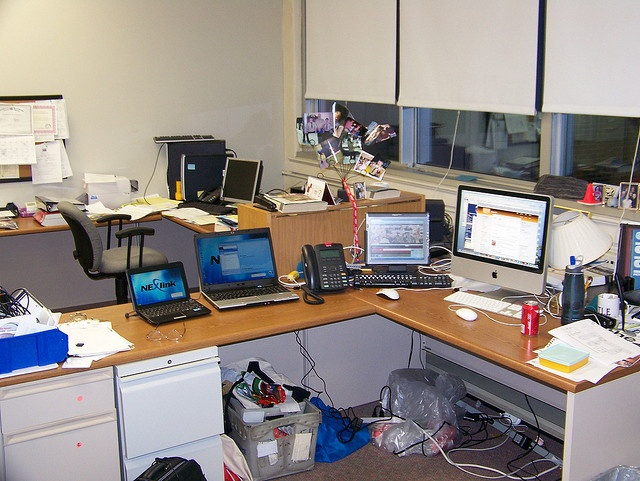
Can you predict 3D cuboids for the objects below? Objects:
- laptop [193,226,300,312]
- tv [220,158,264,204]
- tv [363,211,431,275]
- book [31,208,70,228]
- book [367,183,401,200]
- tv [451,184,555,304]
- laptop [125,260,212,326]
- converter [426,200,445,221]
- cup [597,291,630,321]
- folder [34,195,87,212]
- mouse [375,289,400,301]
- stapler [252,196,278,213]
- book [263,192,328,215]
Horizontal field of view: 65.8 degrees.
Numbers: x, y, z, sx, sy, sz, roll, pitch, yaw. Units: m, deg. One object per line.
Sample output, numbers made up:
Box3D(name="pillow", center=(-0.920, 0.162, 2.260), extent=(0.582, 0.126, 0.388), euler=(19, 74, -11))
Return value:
Box3D(name="laptop", center=(-0.455, 0.149, 2.768), extent=(0.508, 0.341, 0.457), euler=(-6, 15, -27))
Box3D(name="tv", center=(-0.731, -0.542, 4.547), extent=(0.542, 0.554, 0.197), euler=(4, 3, 33))
Box3D(name="tv", center=(0.463, 0.018, 3.011), extent=(0.364, 0.338, 0.120), euler=(1, -1, -3))
Box3D(name="book", center=(-2.281, -0.187, 4.165), extent=(0.207, 0.050, 0.204), euler=(-7, 19, -36))
Box3D(name="book", center=(0.424, -0.334, 3.417), extent=(0.144, 0.050, 0.150), euler=(-11, 18, -39))
Box3D(name="tv", center=(0.964, 0.033, 2.613), extent=(0.546, 0.554, 0.201), euler=(12, 13, 41))
Box3D(name="laptop", center=(-0.807, 0.286, 2.545), extent=(0.338, 0.217, 0.329), euler=(-12, 25, -36))
Box3D(name="converter", center=(0.792, -0.211, 3.419), extent=(0.143, 0.130, 0.140), euler=(3, 15, 7))
Box3D(name="cup", center=(1.390, 0.315, 2.378), extent=(0.142, 0.127, 0.090), euler=(1, 1, 14))
Box3D(name="folder", center=(-2.288, -0.321, 4.231), extent=(0.329, 0.098, 0.313), euler=(-6, 14, -40))
Box3D(name="mouse", center=(0.373, 0.285, 2.718), extent=(0.094, 0.028, 0.059), euler=(15, 18, 42))
Box3D(name="stapler", center=(-0.348, -0.245, 3.169), extent=(0.108, 0.041, 0.139), euler=(-4, 19, -39))
Box3D(name="book", center=(-0.145, -0.240, 3.175), extent=(0.391, 0.111, 0.223), euler=(-8, 14, -16))
